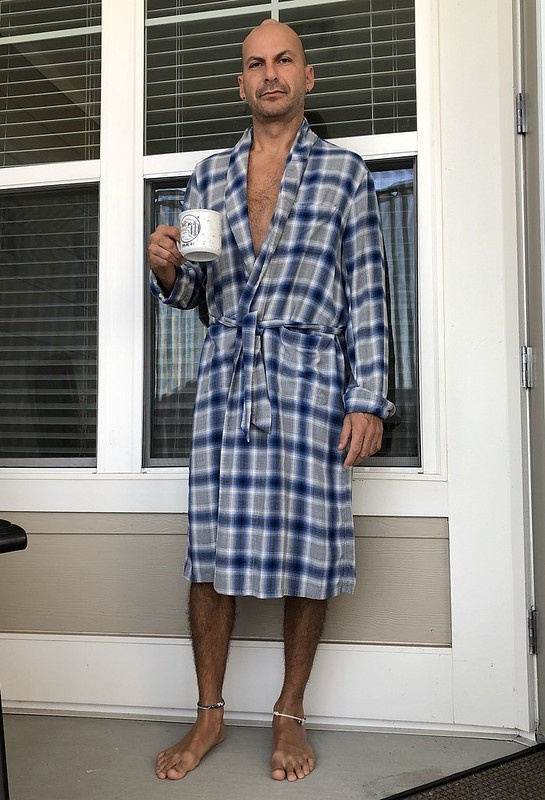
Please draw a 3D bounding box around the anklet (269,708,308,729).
[{"bbox_3d":[0.042,0.664,1.697,0.050,0.016,0.039,30,-11,-31],"label":"anklet"}]

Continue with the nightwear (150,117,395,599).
[{"bbox_3d":[-0.005,-0.114,1.721,0.510,1.035,0.226,-1,-3,8],"label":"nightwear"}]

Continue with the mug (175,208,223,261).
[{"bbox_3d":[-0.135,-0.316,1.515,0.084,0.100,0.090,-3,-4,40],"label":"mug"}]
